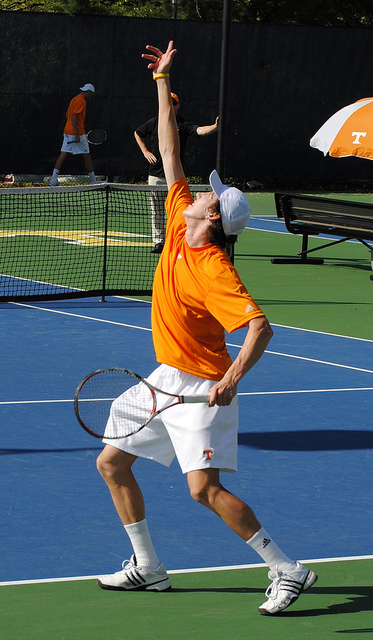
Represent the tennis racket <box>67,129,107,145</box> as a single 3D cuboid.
[{"bbox_3d":[-2.594,-4.808,19.705,0.754,0.285,0.076,-9,-5,-4],"label":"tennis racket"}]
